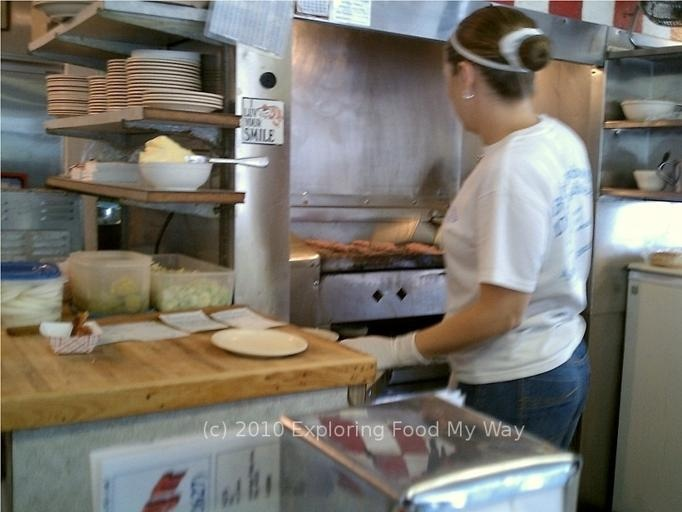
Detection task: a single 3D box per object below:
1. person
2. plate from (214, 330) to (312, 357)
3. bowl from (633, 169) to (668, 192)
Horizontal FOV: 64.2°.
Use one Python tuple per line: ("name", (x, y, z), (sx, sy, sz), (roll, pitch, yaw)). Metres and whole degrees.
("person", (0.399, -0.048, 1.561), (0.591, 1.321, 0.384), (-3, 6, 21))
("plate", (-0.233, 0.245, 1.541), (0.255, 0.052, 0.236), (-5, 5, -14))
("bowl", (1.676, -0.415, 2.978), (0.161, 0.125, 0.131), (-9, 7, -42))
